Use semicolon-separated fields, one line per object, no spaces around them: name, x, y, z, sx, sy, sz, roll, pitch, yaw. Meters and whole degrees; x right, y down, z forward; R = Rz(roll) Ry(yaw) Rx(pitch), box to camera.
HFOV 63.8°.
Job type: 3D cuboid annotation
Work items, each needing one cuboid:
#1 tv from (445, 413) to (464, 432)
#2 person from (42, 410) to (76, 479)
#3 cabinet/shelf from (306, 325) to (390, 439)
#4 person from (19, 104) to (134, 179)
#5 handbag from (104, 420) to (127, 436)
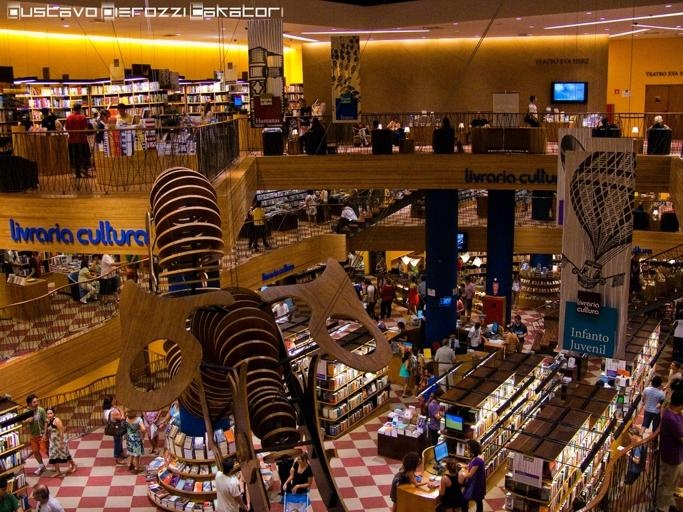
tv;1.970;2.872;9.557;0.048;0.284;0.343;-2;2;-42
person;-5.333;3.521;10.461;0.437;1.246;0.538;-9;14;-32
cabinet/shelf;0.009;3.012;12.341;0.494;1.398;1.556;-21;-14;31
person;-6.176;-2.517;12.289;2.669;1.537;1.111;9;16;40
handbag;-4.436;3.362;10.830;0.438;0.342;0.154;1;12;11
